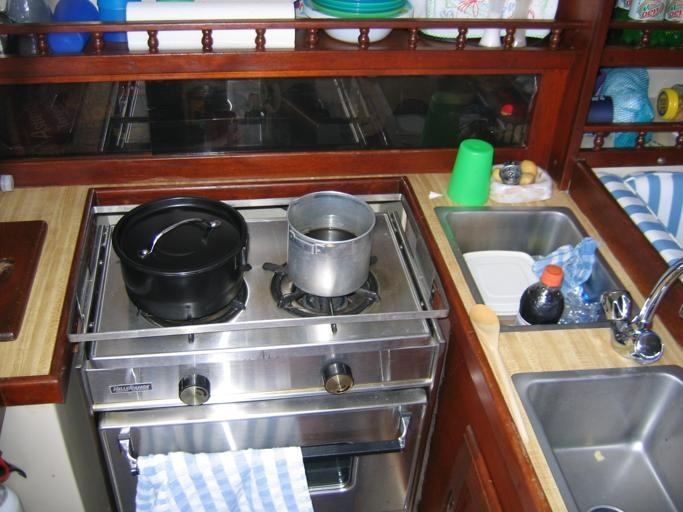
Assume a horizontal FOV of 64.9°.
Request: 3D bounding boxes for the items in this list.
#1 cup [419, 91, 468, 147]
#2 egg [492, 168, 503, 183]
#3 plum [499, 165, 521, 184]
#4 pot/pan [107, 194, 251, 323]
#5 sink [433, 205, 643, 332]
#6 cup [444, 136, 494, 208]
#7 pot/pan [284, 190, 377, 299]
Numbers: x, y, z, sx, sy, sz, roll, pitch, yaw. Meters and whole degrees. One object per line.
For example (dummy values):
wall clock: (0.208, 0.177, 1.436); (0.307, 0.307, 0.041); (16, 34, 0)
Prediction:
cup: (0.298, -0.445, 1.672); (0.147, 0.147, 0.128); (-12, 50, -16)
egg: (0.477, -0.251, 1.653); (0.039, 0.037, 0.019); (11, -3, 7)
plum: (0.505, -0.248, 1.616); (0.063, 0.060, 0.050); (0, 4, -1)
pot/pan: (-0.405, -0.004, 1.346); (0.311, 0.182, 0.309); (23, 40, 20)
sink: (0.459, 0.009, 1.578); (0.393, 0.155, 0.286); (-10, 49, 34)
cup: (0.378, -0.246, 1.587); (0.143, 0.152, 0.144); (2, 42, -2)
pot/pan: (-0.027, 0.005, 1.415); (0.270, 0.212, 0.286); (2, 47, -4)
